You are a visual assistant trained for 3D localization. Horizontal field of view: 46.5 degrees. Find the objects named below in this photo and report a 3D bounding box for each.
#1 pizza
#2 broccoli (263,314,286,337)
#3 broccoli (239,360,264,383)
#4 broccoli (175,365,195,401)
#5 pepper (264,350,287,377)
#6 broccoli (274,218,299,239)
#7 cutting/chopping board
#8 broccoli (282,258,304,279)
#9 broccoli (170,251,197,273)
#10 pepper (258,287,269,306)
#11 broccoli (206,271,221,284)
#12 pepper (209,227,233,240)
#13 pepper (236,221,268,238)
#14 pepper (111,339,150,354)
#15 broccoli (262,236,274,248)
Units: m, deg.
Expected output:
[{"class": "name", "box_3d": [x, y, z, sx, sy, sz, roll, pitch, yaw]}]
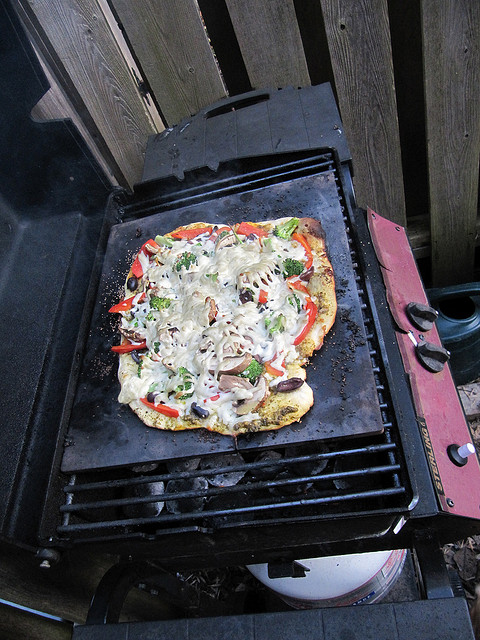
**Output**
[{"class": "pizza", "box_3d": [-0.024, 0.041, 2.317, 1.001, 0.071, 1.029, -6, 62, 10]}, {"class": "broccoli", "box_3d": [0.138, 0.019, 2.222, 0.088, 0.026, 0.082, -12, 57, 29]}, {"class": "broccoli", "box_3d": [0.050, 0.195, 2.113, 0.078, 0.032, 0.085, 20, 71, -11]}, {"class": "broccoli", "box_3d": [-0.225, 0.239, 2.173, 0.081, 0.027, 0.099, -8, 73, 4]}, {"class": "pepper", "box_3d": [0.129, 0.179, 2.159, 0.065, 0.027, 0.087, -23, 59, 5]}, {"class": "broccoli", "box_3d": [0.215, -0.421, 2.571, 0.080, 0.052, 0.121, 32, 71, 27]}, {"class": "cutting/chopping board", "box_3d": [-0.059, 0.028, 2.397, 1.582, 0.085, 1.575, -5, 62, 9]}, {"class": "broccoli", "box_3d": [0.218, -0.216, 2.378, 0.090, 0.047, 0.076, -3, 71, 11]}, {"class": "broccoli", "box_3d": [-0.260, -0.274, 2.611, 0.096, 0.028, 0.092, -21, 47, 13]}, {"class": "pepper", "box_3d": [0.096, -0.097, 2.330, 0.046, 0.048, 0.050, 2, 52, 1]}, {"class": "broccoli", "box_3d": [-0.123, -0.188, 2.493, 0.048, 0.014, 0.045, -10, 46, 2]}, {"class": "pepper", "box_3d": [-0.092, -0.427, 2.710, 0.103, 0.023, 0.056, -38, 52, -14]}, {"class": "pepper", "box_3d": [0.059, -0.426, 2.638, 0.073, 0.038, 0.141, -12, 32, -29]}, {"class": "pepper", "box_3d": [-0.485, 0.114, 2.519, 0.217, 0.060, 0.054, -2, 96, 1]}, {"class": "broccoli", "box_3d": [0.124, -0.349, 2.526, 0.049, 0.016, 0.046, -13, 51, 39]}]
